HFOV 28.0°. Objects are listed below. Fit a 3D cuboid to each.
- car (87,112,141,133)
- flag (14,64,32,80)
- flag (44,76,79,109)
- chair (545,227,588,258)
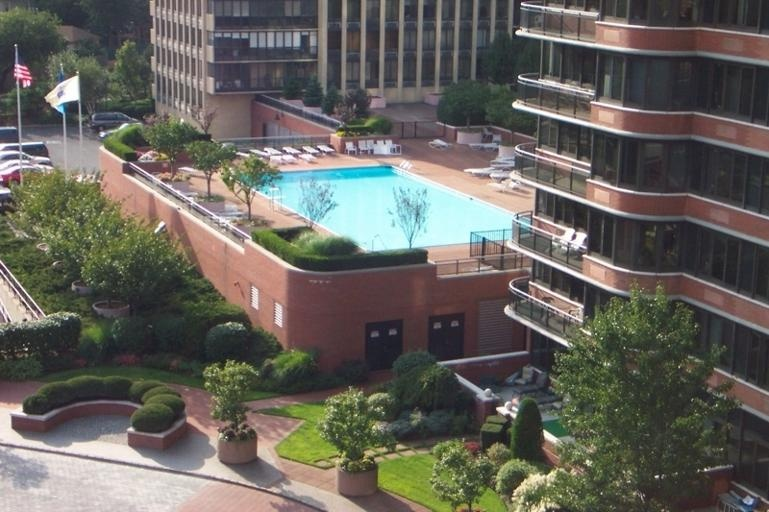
[{"bbox_3d":[-23.052,-11.560,129.850,3.066,1.331,3.929,13,19,42],"label":"car"},{"bbox_3d":[-24.412,-12.462,103.456,0.861,1.019,2.077,-5,15,-21],"label":"flag"},{"bbox_3d":[-21.088,-10.943,101.291,1.366,2.294,3.247,-8,16,-31],"label":"flag"},{"bbox_3d":[9.222,-0.742,75.853,0.820,1.283,2.100,-12,18,-40],"label":"chair"}]
